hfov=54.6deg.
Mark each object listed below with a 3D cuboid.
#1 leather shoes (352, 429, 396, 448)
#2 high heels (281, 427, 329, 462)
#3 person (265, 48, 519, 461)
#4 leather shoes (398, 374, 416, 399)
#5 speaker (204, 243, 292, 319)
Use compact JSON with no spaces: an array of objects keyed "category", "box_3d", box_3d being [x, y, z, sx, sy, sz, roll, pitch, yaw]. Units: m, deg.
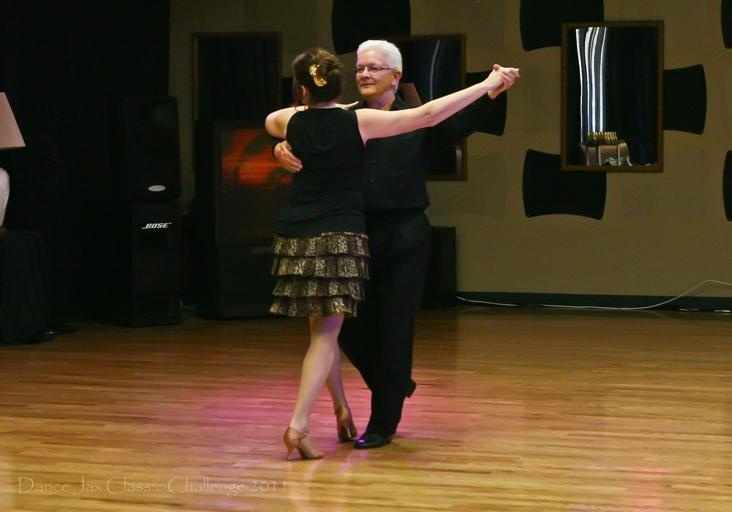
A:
[{"category":"leather shoes","box_3d":[0.025,0.848,3.316,0.076,0.055,0.179,-5,-7,37]},{"category":"high heels","box_3d":[-0.270,0.836,3.221,0.260,0.178,0.099,1,3,-36]},{"category":"person","box_3d":[-0.025,0.001,3.206,0.838,1.827,0.421,-1,8,-10]},{"category":"leather shoes","box_3d":[0.185,0.651,3.457,0.036,0.133,0.102,17,28,24]},{"category":"speaker","box_3d":[-1.125,0.213,6.753,0.742,0.776,0.771,1,-5,-10]}]
